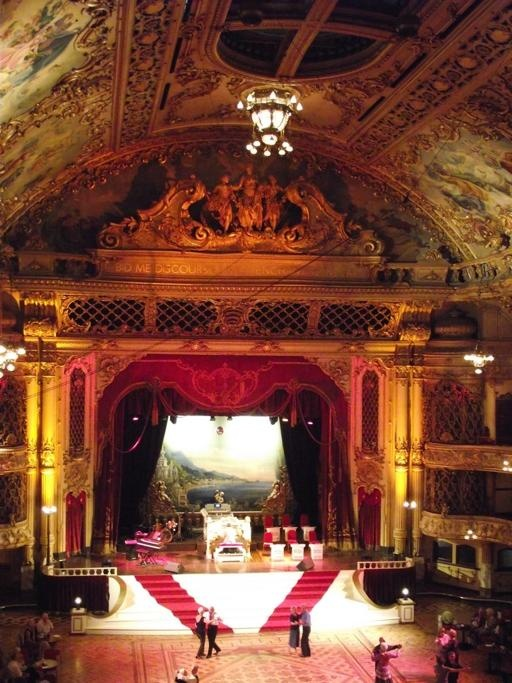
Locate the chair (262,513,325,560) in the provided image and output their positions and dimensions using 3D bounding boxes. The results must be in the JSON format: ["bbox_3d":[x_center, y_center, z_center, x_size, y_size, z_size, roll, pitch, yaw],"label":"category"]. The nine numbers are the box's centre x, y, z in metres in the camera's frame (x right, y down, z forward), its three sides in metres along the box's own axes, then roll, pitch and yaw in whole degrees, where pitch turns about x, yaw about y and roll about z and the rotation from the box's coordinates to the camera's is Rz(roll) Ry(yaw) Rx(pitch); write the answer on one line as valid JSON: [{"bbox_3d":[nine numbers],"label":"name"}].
[{"bbox_3d":[0.988,5.013,17.186,1.097,0.477,1.599,1,-4,-6],"label":"chair"}]

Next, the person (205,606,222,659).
[{"bbox_3d":[-0.817,5.557,12.938,0.261,0.892,0.417,0,-11,-3],"label":"person"}]

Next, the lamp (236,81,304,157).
[{"bbox_3d":[0.181,-3.423,9.581,0.858,1.331,0.782,6,22,16],"label":"lamp"}]

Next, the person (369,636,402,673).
[{"bbox_3d":[2.122,5.149,10.966,0.356,0.678,0.485,0,-10,-4],"label":"person"}]

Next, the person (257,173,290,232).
[{"bbox_3d":[0.341,-3.178,15.955,0.717,1.230,0.715,-1,-11,2],"label":"person"}]

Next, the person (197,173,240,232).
[{"bbox_3d":[-0.893,-3.161,15.760,0.805,1.254,0.669,0,-11,-4],"label":"person"}]
